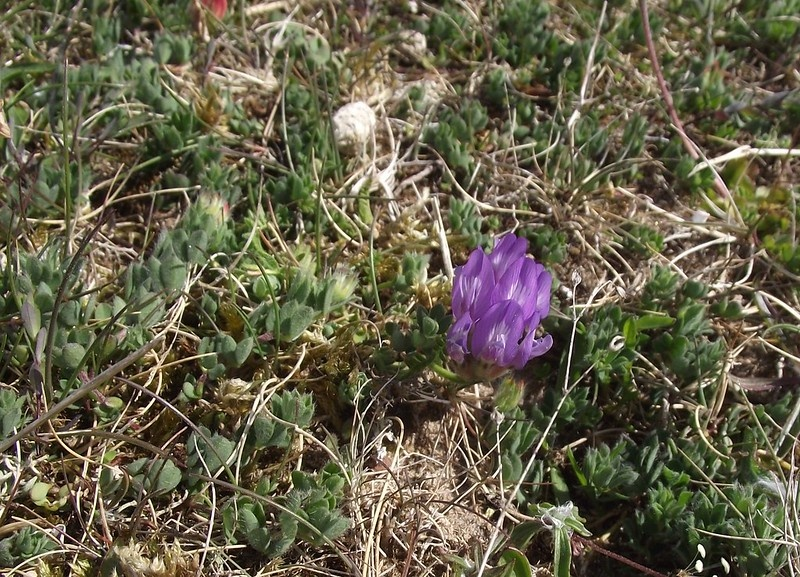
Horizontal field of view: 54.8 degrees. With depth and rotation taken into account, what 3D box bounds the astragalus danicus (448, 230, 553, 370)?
[{"bbox_3d":[0.360,0.124,2.868,0.371,0.277,0.470,38,74,13],"label":"astragalus danicus"}]
